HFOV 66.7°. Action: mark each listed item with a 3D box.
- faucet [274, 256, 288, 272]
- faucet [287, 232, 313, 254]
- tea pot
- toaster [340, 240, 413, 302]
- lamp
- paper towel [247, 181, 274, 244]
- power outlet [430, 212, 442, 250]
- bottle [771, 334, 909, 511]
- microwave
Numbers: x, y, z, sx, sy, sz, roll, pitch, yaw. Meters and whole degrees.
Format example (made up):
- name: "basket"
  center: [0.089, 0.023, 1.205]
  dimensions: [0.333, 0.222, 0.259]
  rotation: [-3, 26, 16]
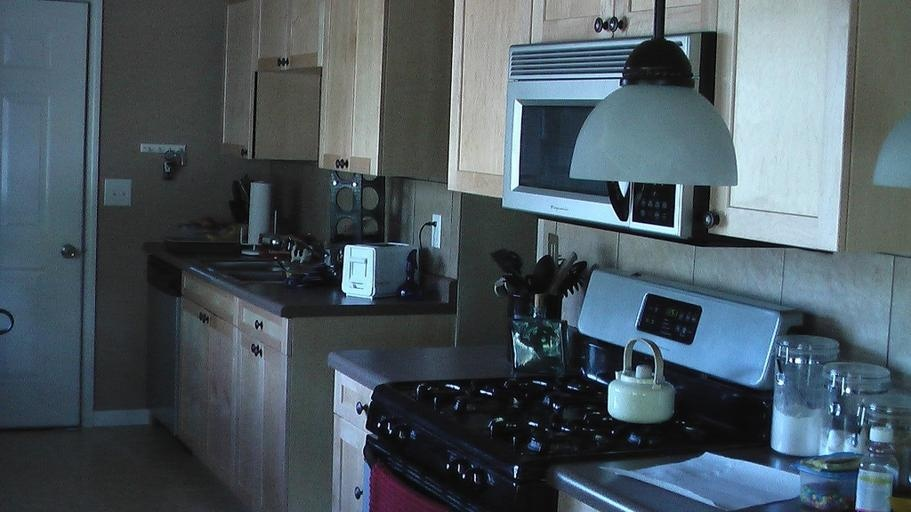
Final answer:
- name: "faucet"
  center: [-1.106, 0.050, 4.363]
  dimensions: [0.076, 0.067, 0.126]
  rotation: [-4, 13, -17]
- name: "faucet"
  center: [-0.959, -0.074, 4.269]
  dimensions: [0.131, 0.081, 0.181]
  rotation: [17, -5, 5]
- name: "tea pot"
  center: [0.651, 0.429, 2.423]
  dimensions: [0.267, 0.255, 0.265]
  rotation: [2, 2, 0]
- name: "toaster"
  center: [-0.428, 0.080, 3.885]
  dimensions: [0.230, 0.287, 0.395]
  rotation: [2, 3, 30]
- name: "lamp"
  center: [0.516, -0.411, 1.765]
  dimensions: [0.361, 0.475, 0.248]
  rotation: [-7, 16, -22]
- name: "paper towel"
  center: [-1.437, -0.320, 4.921]
  dimensions: [0.155, 0.463, 0.138]
  rotation: [7, 20, -13]
- name: "power outlet"
  center: [-0.106, -0.145, 3.830]
  dimensions: [0.029, 0.260, 0.191]
  rotation: [-2, 5, -18]
- name: "bottle"
  center: [1.131, 0.454, 2.148]
  dimensions: [0.281, 0.450, 0.472]
  rotation: [0, 3, -16]
- name: "microwave"
  center: [0.560, -0.434, 2.516]
  dimensions: [0.386, 0.669, 0.822]
  rotation: [-9, 16, -39]
